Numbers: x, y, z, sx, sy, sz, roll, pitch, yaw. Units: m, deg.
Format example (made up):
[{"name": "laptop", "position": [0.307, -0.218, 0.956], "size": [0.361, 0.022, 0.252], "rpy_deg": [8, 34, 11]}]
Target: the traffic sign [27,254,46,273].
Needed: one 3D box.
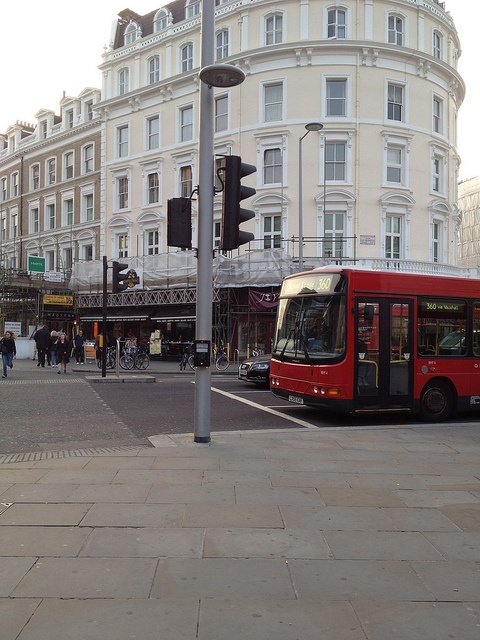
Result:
[{"name": "traffic sign", "position": [-10.129, -2.737, 37.527], "size": [0.546, 0.796, 1.353], "rpy_deg": [1, 0, 8]}]

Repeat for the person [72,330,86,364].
[{"name": "person", "position": [-6.328, 1.125, 29.574], "size": [0.345, 1.249, 1.930], "rpy_deg": [1, 0, -12]}]

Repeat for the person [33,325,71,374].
[{"name": "person", "position": [-6.620, 1.080, 26.206], "size": [1.338, 1.703, 0.537], "rpy_deg": [4, 11, 23]}]

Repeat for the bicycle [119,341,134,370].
[{"name": "bicycle", "position": [-3.883, 1.316, 26.013], "size": [0.758, 1.141, 0.581], "rpy_deg": [2, -2, -5]}]
